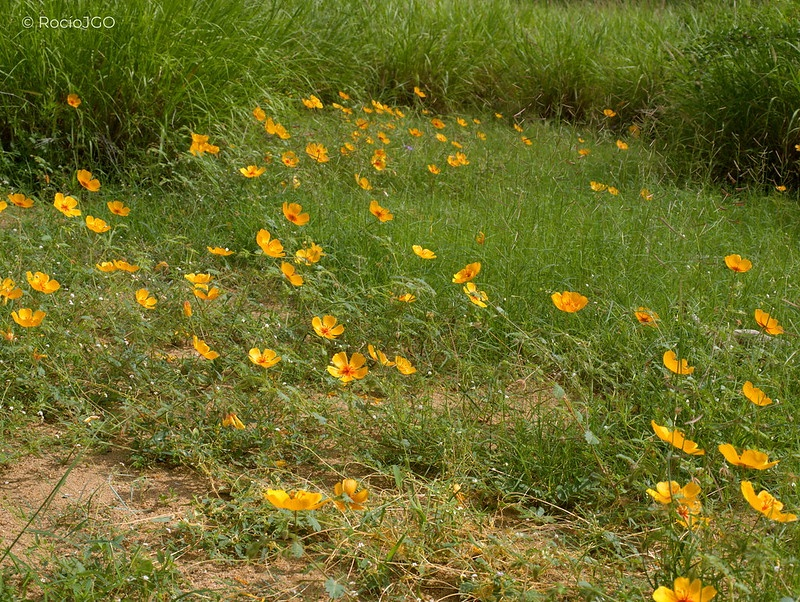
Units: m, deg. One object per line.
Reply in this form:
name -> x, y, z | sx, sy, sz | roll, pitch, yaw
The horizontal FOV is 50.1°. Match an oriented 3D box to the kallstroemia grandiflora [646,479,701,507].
kallstroemia grandiflora -> 0.741, 0.514, 2.304 | 0.126, 0.053, 0.142 | 1, 8, 24

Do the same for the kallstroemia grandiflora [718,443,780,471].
kallstroemia grandiflora -> 0.904, 0.407, 2.225 | 0.114, 0.061, 0.129 | 19, -8, -31

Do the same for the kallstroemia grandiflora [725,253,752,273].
kallstroemia grandiflora -> 1.294, -0.143, 3.282 | 0.090, 0.056, 0.091 | -8, 35, -37

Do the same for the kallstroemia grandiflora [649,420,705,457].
kallstroemia grandiflora -> 0.753, 0.372, 2.332 | 0.119, 0.066, 0.142 | 33, -9, 3

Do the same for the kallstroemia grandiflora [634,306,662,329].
kallstroemia grandiflora -> 0.859, 0.056, 2.950 | 0.075, 0.020, 0.080 | -3, 32, -18

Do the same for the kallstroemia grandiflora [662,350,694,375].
kallstroemia grandiflora -> 0.883, 0.197, 2.716 | 0.074, 0.028, 0.089 | 10, 26, -30

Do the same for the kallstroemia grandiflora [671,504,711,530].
kallstroemia grandiflora -> 0.760, 0.565, 2.237 | 0.076, 0.085, 0.041 | 15, -19, 8

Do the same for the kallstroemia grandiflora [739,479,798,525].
kallstroemia grandiflora -> 0.925, 0.513, 2.187 | 0.124, 0.059, 0.128 | 11, 19, -29

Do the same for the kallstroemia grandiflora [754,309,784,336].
kallstroemia grandiflora -> 1.213, 0.062, 2.829 | 0.104, 0.052, 0.110 | 38, 27, 8
